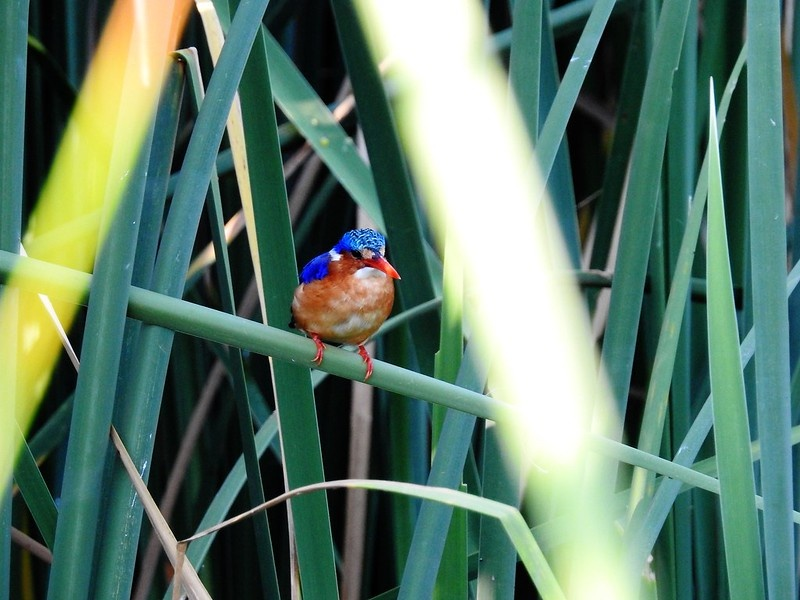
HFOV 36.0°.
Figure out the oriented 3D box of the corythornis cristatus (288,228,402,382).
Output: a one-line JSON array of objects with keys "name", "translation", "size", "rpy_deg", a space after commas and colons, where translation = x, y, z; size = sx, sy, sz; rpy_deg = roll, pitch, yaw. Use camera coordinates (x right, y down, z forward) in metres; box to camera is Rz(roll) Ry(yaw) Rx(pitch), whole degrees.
[{"name": "corythornis cristatus", "translation": [-0.133, -0.022, 3.046], "size": [0.165, 0.412, 0.382], "rpy_deg": [-2, -61, -14]}]
